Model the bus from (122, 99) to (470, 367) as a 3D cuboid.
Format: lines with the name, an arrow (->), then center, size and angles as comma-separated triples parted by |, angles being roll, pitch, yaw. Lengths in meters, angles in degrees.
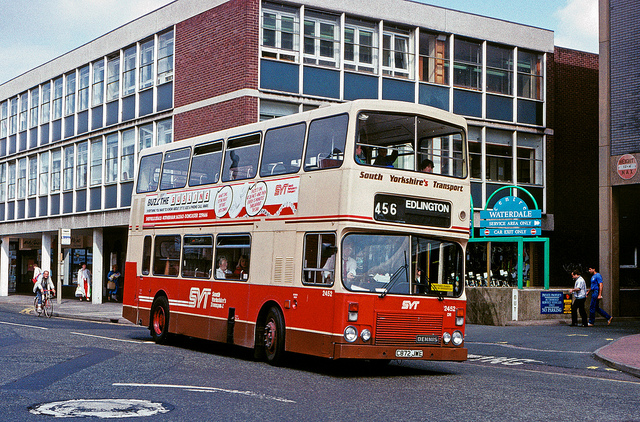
bus -> -1.061, 0.627, 19.861 | 10.428, 5.993, 3.662 | -1, -1, 37

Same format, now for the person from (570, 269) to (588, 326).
person -> 10.563, 3.564, 28.738 | 0.669, 2.379, 1.581 | 0, 0, 20

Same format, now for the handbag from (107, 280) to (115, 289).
handbag -> -12.227, 4.281, 41.060 | 0.420, 0.457, 0.436 | 0, 0, -21

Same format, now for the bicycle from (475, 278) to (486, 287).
bicycle -> 7.748, 3.388, 33.772 | 0.352, 0.375, 1.148 | 0, -1, 14

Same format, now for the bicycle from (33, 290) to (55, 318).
bicycle -> -12.566, 4.369, 32.846 | 0.743, 1.286, 1.940 | 5, -11, -33

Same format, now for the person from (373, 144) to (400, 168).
person -> 1.651, -1.388, 17.341 | 0.309, 0.545, 0.978 | 0, -1, 35

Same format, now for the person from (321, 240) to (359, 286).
person -> 0.518, 1.238, 16.781 | 0.592, 1.152, 0.440 | 28, -7, -13

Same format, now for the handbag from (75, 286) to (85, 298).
handbag -> -14.124, 4.778, 41.347 | 0.723, 0.295, 0.767 | 5, -19, -15

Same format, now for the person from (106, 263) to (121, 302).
person -> -12.195, 4.280, 41.480 | 0.661, 1.681, 1.226 | 0, 0, -15
